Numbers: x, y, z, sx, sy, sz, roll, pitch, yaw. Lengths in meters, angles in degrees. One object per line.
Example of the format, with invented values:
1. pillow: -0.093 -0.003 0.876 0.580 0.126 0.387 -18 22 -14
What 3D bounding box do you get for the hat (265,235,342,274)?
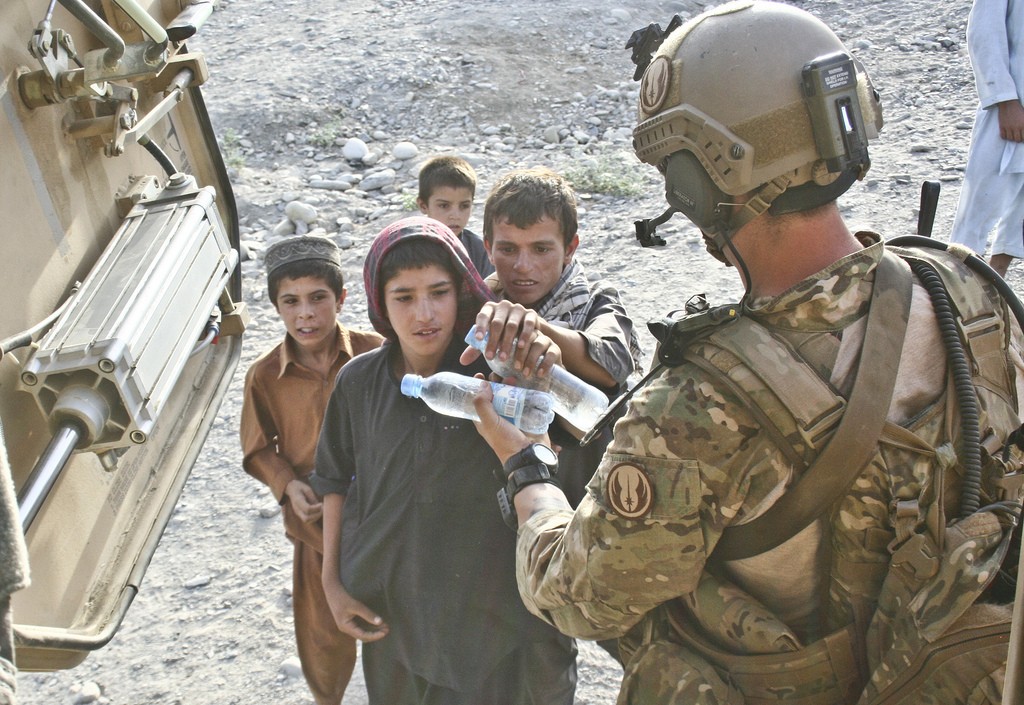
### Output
1. hat: -0.888 -0.408 6.225 0.224 0.077 0.208 -5 -12 -30
